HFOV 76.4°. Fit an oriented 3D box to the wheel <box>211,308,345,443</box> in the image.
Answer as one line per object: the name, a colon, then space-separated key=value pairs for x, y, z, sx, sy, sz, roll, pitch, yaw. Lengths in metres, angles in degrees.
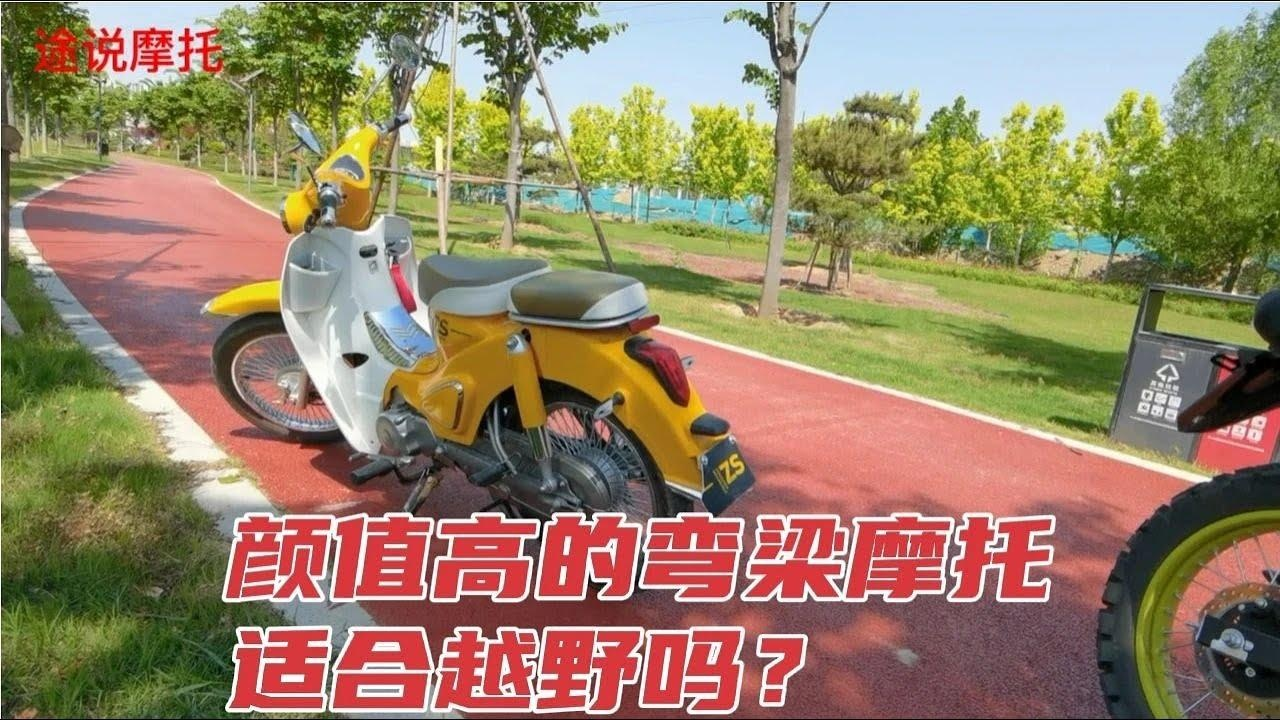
wheel: x=-3.522 y=0.198 z=8.596 sx=1.445 sy=1.395 sz=0.570 roll=13 pitch=16 yaw=4
